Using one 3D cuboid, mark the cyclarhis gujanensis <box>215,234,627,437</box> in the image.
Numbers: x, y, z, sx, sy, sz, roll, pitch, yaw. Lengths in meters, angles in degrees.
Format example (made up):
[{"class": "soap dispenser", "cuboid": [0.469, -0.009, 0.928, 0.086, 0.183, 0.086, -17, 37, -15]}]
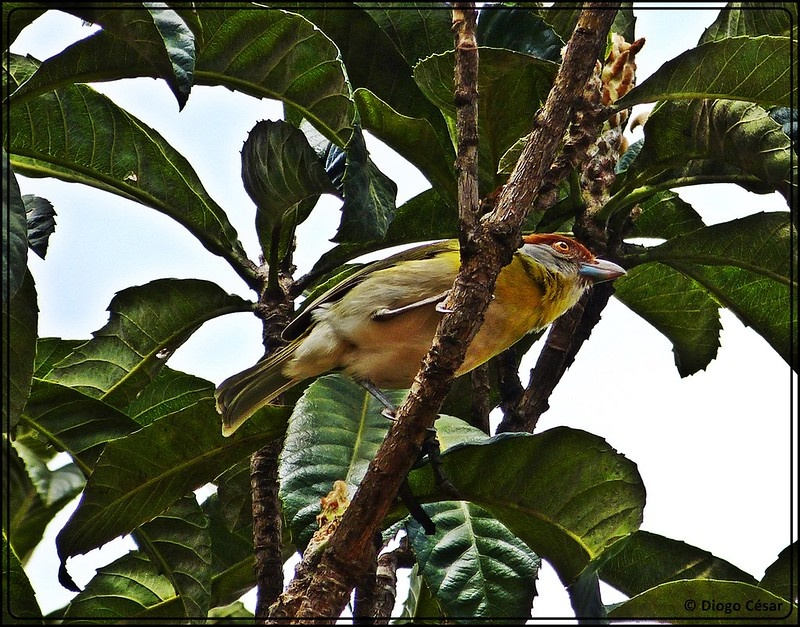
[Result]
[{"class": "cyclarhis gujanensis", "cuboid": [0.033, 0.084, 4.471, 1.220, 0.509, 0.391, -15, -40, -6]}]
